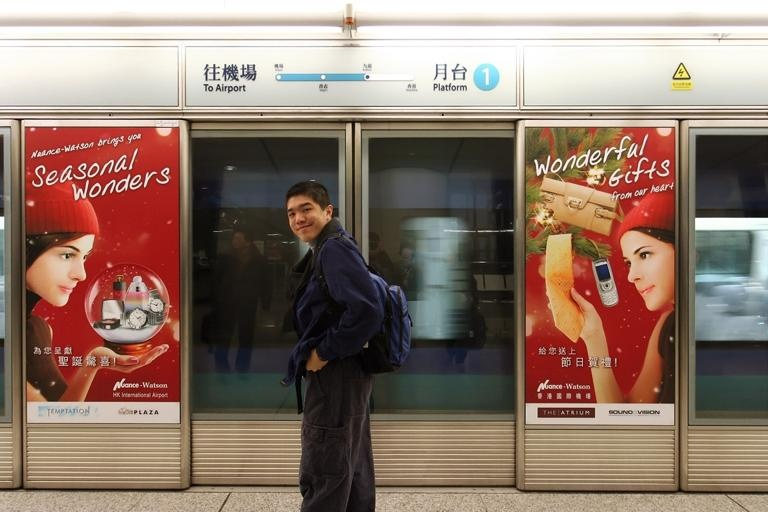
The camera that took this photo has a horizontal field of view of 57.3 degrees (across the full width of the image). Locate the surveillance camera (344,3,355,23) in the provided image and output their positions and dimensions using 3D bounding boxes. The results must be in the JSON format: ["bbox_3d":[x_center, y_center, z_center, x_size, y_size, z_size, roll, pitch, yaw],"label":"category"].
[{"bbox_3d":[-0.326,-2.198,6.377,0.076,0.174,0.110,-4,3,-41],"label":"surveillance camera"}]
